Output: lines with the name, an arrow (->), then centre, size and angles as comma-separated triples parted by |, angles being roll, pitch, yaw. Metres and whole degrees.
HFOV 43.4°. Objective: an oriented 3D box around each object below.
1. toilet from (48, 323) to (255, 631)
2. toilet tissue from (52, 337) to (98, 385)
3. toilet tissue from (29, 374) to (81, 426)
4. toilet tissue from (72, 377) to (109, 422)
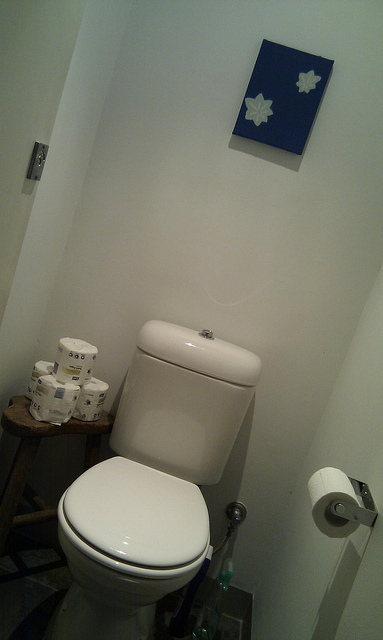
toilet -> -0.096, 0.411, 1.303 | 0.372, 0.812, 0.738 | 19, 27, -1
toilet tissue -> -0.341, 0.121, 1.406 | 0.102, 0.108, 0.107 | 13, 14, -16
toilet tissue -> -0.373, 0.222, 1.306 | 0.122, 0.123, 0.128 | 6, 19, -27
toilet tissue -> -0.310, 0.226, 1.442 | 0.093, 0.108, 0.095 | 11, 19, -12
